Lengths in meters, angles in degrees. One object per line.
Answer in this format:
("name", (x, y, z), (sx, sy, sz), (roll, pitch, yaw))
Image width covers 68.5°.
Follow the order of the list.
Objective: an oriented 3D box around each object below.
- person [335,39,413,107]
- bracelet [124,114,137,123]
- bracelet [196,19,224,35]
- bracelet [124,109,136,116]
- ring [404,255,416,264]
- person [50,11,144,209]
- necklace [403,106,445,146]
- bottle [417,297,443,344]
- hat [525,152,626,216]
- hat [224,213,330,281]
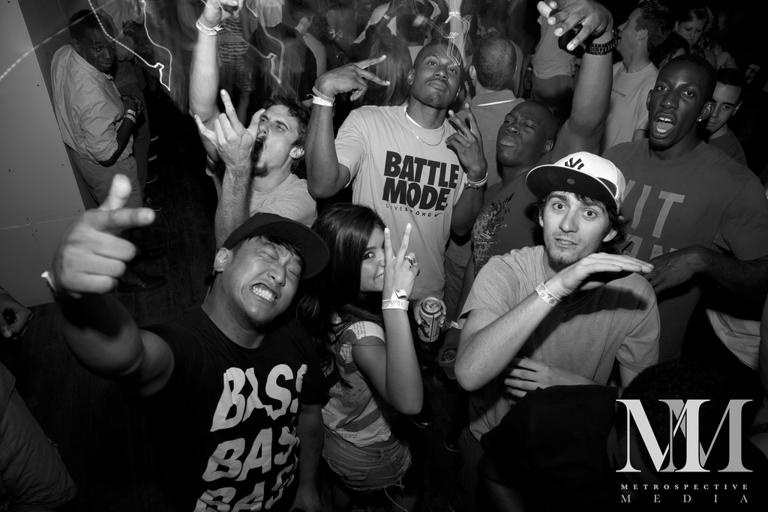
("person", (-0.071, -1.506, 4.741), (0.496, 0.713, 0.710), (7, 0, -3))
("bracelet", (-2.369, -1.284, 5.257), (0.117, 0.059, 0.133), (5, -7, -24))
("bracelet", (-1.068, -1.393, 3.431), (0.141, 0.088, 0.122), (-9, 32, -17))
("bracelet", (-2.408, -1.366, 5.360), (0.068, 0.031, 0.063), (9, 9, 25))
("ring", (0.138, 0.020, 3.188), (0.050, 0.019, 0.053), (29, 23, -14))
("person", (-2.311, -1.136, 4.479), (0.485, 0.663, 1.497), (-31, 7, -25))
("necklace", (0.290, -0.933, 4.184), (0.221, 0.291, 0.119), (-2, -6, -17))
("bottle", (0.280, 0.402, 3.608), (0.134, 0.225, 0.162), (17, 47, 16))
("hat", (1.013, -0.420, 3.001), (0.438, 0.220, 0.340), (32, -13, -35))
("hat", (-0.599, -0.086, 3.178), (0.480, 0.207, 0.678), (1, -20, -7))
